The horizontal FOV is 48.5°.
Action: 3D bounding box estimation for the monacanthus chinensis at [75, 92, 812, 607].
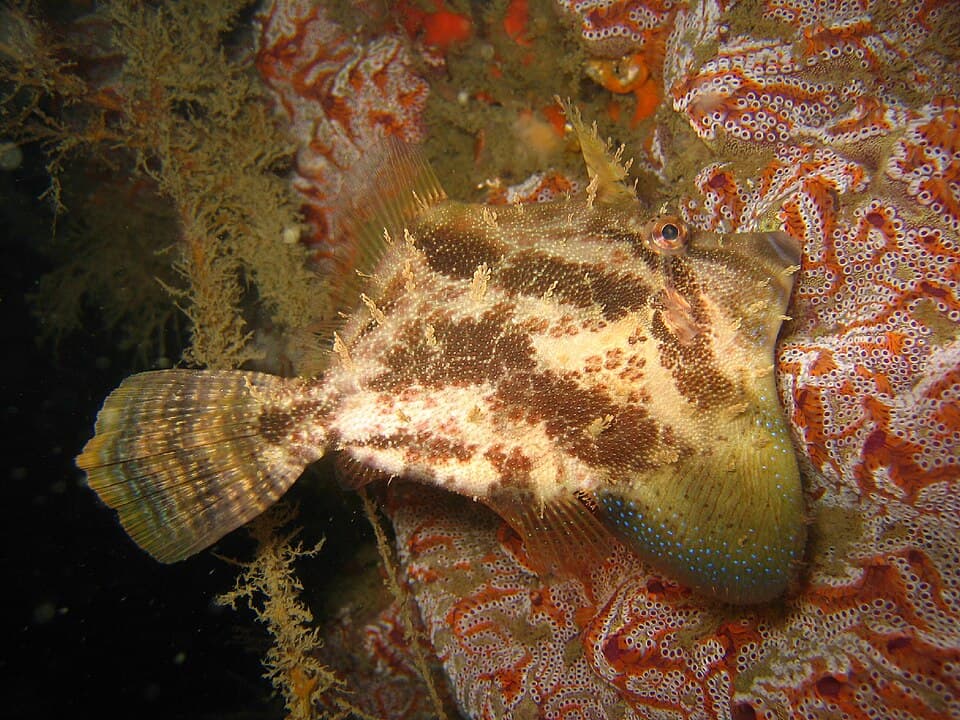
[{"bbox_3d":[0.002,0.091,5.510,3.264,0.422,2.022,2,84,3],"label":"monacanthus chinensis"}]
